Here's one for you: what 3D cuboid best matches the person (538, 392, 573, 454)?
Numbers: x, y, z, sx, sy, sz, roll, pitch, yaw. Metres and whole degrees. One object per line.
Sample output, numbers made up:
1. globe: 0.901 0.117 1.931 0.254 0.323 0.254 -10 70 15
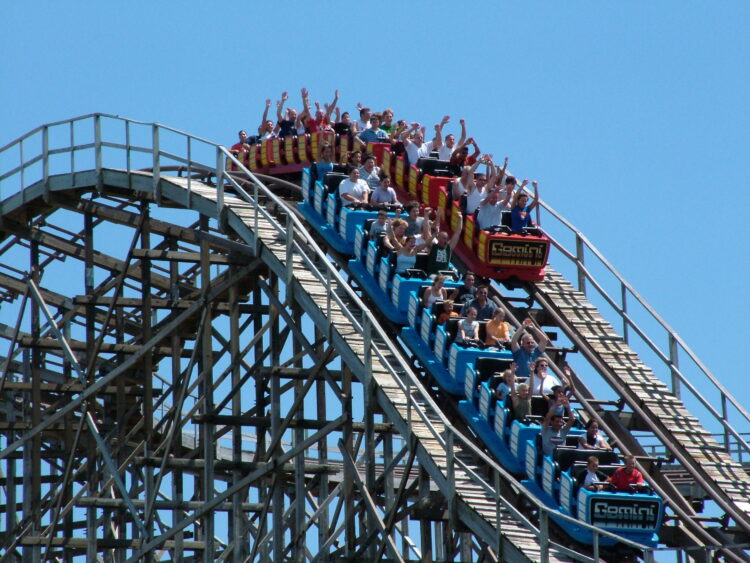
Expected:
1. person: 2.925 2.527 39.894 0.441 1.520 0.383 -6 -56 12
